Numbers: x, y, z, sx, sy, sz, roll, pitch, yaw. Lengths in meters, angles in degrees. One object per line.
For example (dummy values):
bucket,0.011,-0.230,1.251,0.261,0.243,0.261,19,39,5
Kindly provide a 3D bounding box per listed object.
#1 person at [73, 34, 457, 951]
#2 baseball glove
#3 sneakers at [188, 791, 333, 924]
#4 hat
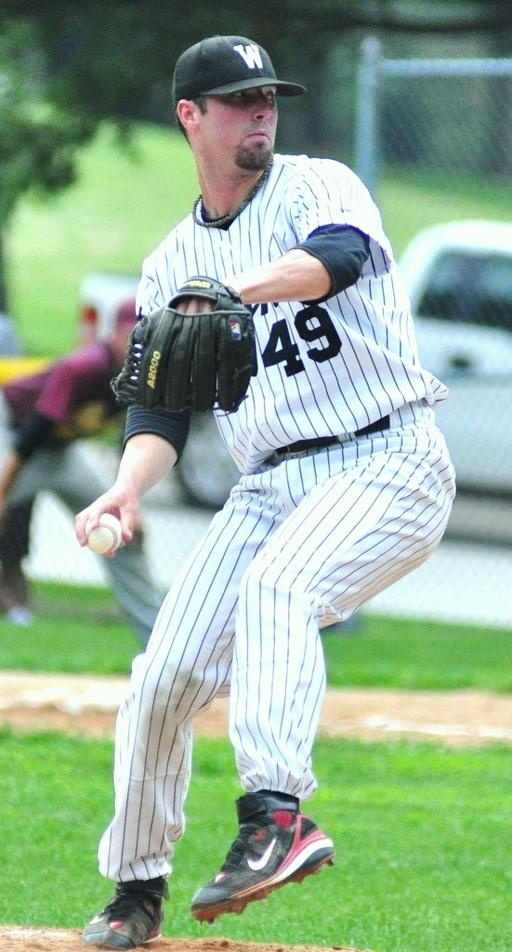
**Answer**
person,0.029,0.077,2.607,0.726,1.905,0.993,3,16,8
baseball glove,-0.124,-0.244,2.412,0.224,0.251,0.088,3,16,11
sneakers,0.014,0.718,2.383,0.161,0.265,0.285,14,20,39
hat,-0.051,-0.823,2.705,0.210,0.112,0.157,-1,8,45
